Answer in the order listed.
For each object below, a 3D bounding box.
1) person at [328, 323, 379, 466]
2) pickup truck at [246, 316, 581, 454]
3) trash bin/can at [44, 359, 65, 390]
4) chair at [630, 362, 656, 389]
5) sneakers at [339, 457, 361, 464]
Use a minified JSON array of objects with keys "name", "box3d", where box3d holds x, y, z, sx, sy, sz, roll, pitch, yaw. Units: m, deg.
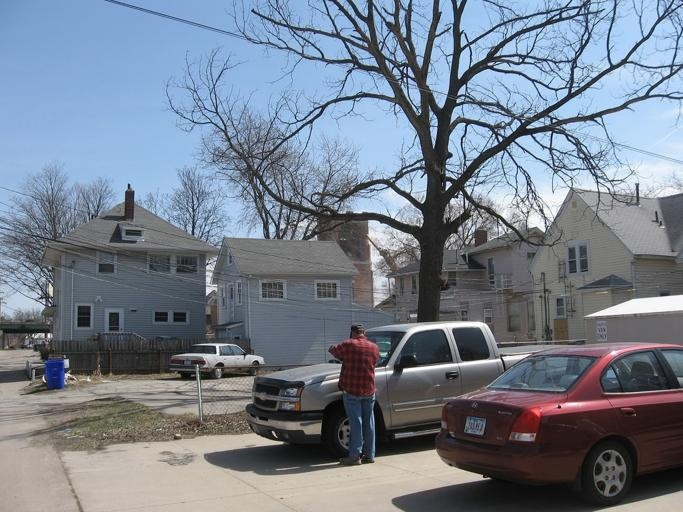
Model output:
[{"name":"person","box3d":[0.269,2.504,11.162,0.763,2.117,0.387,-2,-7,-2]},{"name":"pickup truck","box3d":[0.657,2.369,12.271,5.592,1.826,2.422,1,-6,-31]},{"name":"trash bin/can","box3d":[-9.634,4.004,21.906,0.575,1.019,0.439,0,-8,-20]},{"name":"chair","box3d":[4.377,1.784,9.621,0.345,0.450,0.407,0,-8,4]},{"name":"sneakers","box3d":[0.145,3.495,11.062,0.346,0.154,0.141,5,-3,7]}]
